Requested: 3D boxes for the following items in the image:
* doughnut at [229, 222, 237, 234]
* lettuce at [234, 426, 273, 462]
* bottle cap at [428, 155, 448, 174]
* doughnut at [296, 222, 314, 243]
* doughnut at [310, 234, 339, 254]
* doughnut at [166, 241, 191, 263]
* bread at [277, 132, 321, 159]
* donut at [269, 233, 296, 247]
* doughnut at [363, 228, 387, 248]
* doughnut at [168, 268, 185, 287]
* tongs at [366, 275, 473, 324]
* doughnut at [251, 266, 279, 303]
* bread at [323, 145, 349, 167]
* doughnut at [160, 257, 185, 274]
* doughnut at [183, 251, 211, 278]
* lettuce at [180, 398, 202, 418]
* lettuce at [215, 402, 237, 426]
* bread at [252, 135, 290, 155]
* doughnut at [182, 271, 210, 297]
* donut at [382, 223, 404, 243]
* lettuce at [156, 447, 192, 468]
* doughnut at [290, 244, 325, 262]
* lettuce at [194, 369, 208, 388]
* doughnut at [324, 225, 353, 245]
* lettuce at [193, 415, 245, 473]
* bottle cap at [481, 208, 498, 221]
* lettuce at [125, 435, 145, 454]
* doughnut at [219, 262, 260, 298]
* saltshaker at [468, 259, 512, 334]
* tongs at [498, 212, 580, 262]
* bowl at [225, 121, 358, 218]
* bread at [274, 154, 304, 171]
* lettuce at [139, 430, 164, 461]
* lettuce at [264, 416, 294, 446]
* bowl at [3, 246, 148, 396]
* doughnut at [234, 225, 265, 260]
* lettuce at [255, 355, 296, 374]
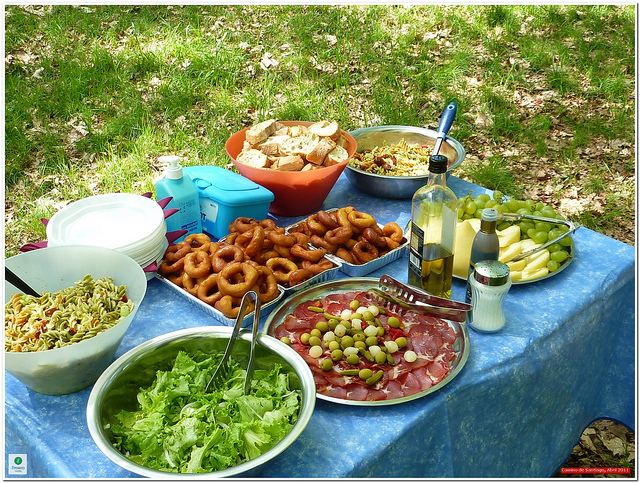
[{"bbox_3d":[-0.384,-0.061,2.340,0.015,0.041,0.041,9,66,-35],"label":"doughnut"},{"bbox_3d":[-0.182,0.592,1.591,0.121,0.142,0.053,-7,75,-5],"label":"lettuce"},{"bbox_3d":[0.426,-0.280,1.921,0.064,0.060,0.064,-7,28,-12],"label":"bottle cap"},{"bbox_3d":[-0.071,-0.045,2.373,0.029,0.085,0.083,-19,39,-37],"label":"doughnut"},{"bbox_3d":[0.018,0.013,2.299,0.086,0.028,0.086,27,1,1],"label":"doughnut"},{"bbox_3d":[-0.594,0.042,2.246,0.084,0.030,0.085,-18,21,30],"label":"doughnut"},{"bbox_3d":[-0.113,-0.504,2.659,0.169,0.041,0.165,-35,39,-24],"label":"bread"},{"bbox_3d":[-0.154,-0.011,2.245,0.067,0.024,0.072,20,5,21],"label":"donut"},{"bbox_3d":[0.243,-0.018,2.316,0.029,0.082,0.082,-51,18,-4],"label":"doughnut"},{"bbox_3d":[-0.598,0.149,2.194,0.069,0.024,0.070,2,30,7],"label":"doughnut"},{"bbox_3d":[0.366,0.232,2.050,0.402,0.096,0.098,19,47,21],"label":"tongs"},{"bbox_3d":[-0.219,0.173,2.094,0.039,0.115,0.123,-30,53,35],"label":"doughnut"},{"bbox_3d":[0.081,-0.422,2.621,0.100,0.045,0.184,23,39,6],"label":"bread"},{"bbox_3d":[-0.619,0.106,2.204,0.073,0.023,0.075,14,31,39],"label":"doughnut"},{"bbox_3d":[-0.501,0.071,2.148,0.111,0.043,0.106,-2,53,2],"label":"doughnut"},{"bbox_3d":[-0.406,0.526,1.673,0.044,0.020,0.051,-12,21,43],"label":"lettuce"},{"bbox_3d":[-0.296,0.536,1.664,0.047,0.027,0.057,-9,34,-12],"label":"lettuce"},{"bbox_3d":[-0.269,-0.482,2.734,0.118,0.030,0.122,4,34,27],"label":"bread"},{"bbox_3d":[-0.508,0.166,2.174,0.100,0.098,0.037,26,15,12],"label":"doughnut"},{"bbox_3d":[0.330,-0.042,2.399,0.032,0.084,0.079,-9,11,-43],"label":"donut"},{"bbox_3d":[-0.440,0.645,1.589,0.066,0.068,0.027,36,11,25],"label":"lettuce"},{"bbox_3d":[-0.054,0.030,2.245,0.089,0.037,0.091,13,5,20],"label":"doughnut"},{"bbox_3d":[-0.394,0.458,1.770,0.036,0.024,0.049,-5,81,-15],"label":"lettuce"},{"bbox_3d":[0.080,-0.026,2.288,0.089,0.034,0.088,-21,14,3],"label":"doughnut"},{"bbox_3d":[-0.288,0.608,1.584,0.089,0.049,0.135,5,78,16],"label":"lettuce"},{"bbox_3d":[0.644,-0.111,2.015,0.050,0.036,0.049,-17,37,-18],"label":"bottle cap"},{"bbox_3d":[-0.565,0.620,1.631,0.056,0.054,0.020,0,-2,21],"label":"lettuce"},{"bbox_3d":[-0.321,0.142,2.067,0.137,0.055,0.142,-21,59,4],"label":"doughnut"},{"bbox_3d":[0.644,0.203,2.037,0.143,0.258,0.170,-3,43,0],"label":"saltshaker"},{"bbox_3d":[0.952,-0.079,2.339,0.277,0.236,0.332,-18,28,-38],"label":"tongs"},{"bbox_3d":[-0.189,-0.358,2.808,0.492,0.477,0.672,20,32,40],"label":"bowl"},{"bbox_3d":[-0.145,-0.372,2.543,0.123,0.068,0.041,-5,-4,-5],"label":"bread"},{"bbox_3d":[-0.514,0.621,1.614,0.062,0.021,0.068,12,59,10],"label":"lettuce"},{"bbox_3d":[-0.126,0.574,1.617,0.071,0.032,0.076,10,59,20],"label":"lettuce"},{"bbox_3d":[-0.888,0.372,2.025,0.504,0.271,0.513,2,36,-2],"label":"bowl"},{"bbox_3d":[-0.289,-0.001,2.201,0.127,0.044,0.128,-3,67,24],"label":"doughnut"},{"bbox_3d":[-0.152,0.409,1.798,0.085,0.034,0.077,30,13,35],"label":"lettuce"}]
